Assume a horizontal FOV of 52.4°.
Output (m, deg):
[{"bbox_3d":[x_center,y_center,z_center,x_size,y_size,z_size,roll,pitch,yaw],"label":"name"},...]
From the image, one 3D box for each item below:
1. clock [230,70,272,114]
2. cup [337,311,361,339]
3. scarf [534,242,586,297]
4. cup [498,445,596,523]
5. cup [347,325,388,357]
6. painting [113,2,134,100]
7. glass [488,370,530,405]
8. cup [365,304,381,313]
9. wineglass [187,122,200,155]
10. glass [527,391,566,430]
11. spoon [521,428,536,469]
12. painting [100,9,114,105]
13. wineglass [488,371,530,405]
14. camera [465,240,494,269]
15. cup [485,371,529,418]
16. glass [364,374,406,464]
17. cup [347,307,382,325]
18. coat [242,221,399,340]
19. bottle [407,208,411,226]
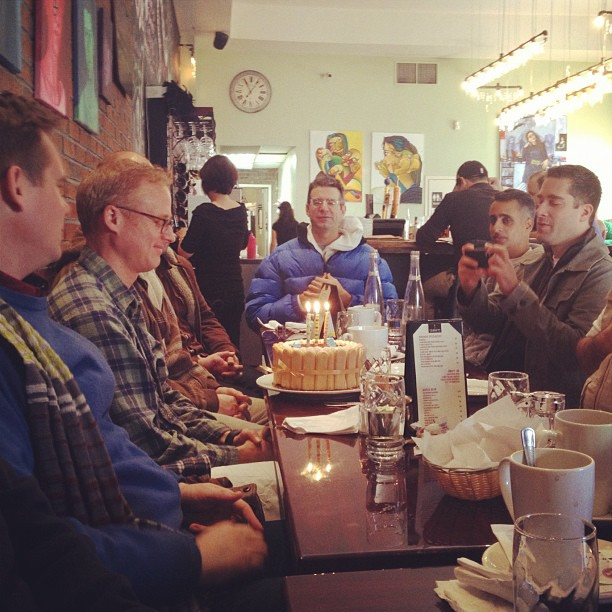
[{"bbox_3d":[-0.794,-2.997,8.630,0.596,0.588,0.077,-3,6,-7],"label":"clock"},{"bbox_3d":[0.138,0.067,2.085,0.080,0.078,0.080,-1,1,0],"label":"cup"},{"bbox_3d":[0.937,-0.131,2.279,0.078,0.176,0.179,14,16,-7],"label":"scarf"},{"bbox_3d":[0.280,0.201,0.768,0.084,0.110,0.129,-3,-1,-6],"label":"cup"},{"bbox_3d":[0.168,0.098,1.668,0.093,0.069,0.072,-2,1,31],"label":"cup"},{"bbox_3d":[-0.950,-1.340,3.244,0.072,0.398,0.455,-6,11,-8],"label":"painting"},{"bbox_3d":[0.401,0.157,1.231,0.073,0.078,0.075,0,-6,0],"label":"glass"},{"bbox_3d":[0.259,0.008,2.366,0.057,0.049,0.033,1,1,-13],"label":"cup"},{"bbox_3d":[-0.854,-1.271,4.706,0.095,0.249,0.230,-6,11,-6],"label":"wineglass"},{"bbox_3d":[0.389,0.167,1.006,0.056,0.078,0.055,1,-1,1],"label":"glass"},{"bbox_3d":[0.258,0.166,0.716,0.019,0.015,0.085,-2,15,18],"label":"spoon"},{"bbox_3d":[-0.945,-1.190,2.912,0.028,0.375,0.370,-6,23,-23],"label":"painting"},{"bbox_3d":[0.383,0.162,1.211,0.079,0.083,0.081,0,-6,0],"label":"wineglass"},{"bbox_3d":[0.571,-0.168,2.017,0.079,0.080,0.029,6,17,32],"label":"camera"},{"bbox_3d":[0.379,0.167,1.158,0.076,0.080,0.077,0,-4,0],"label":"cup"},{"bbox_3d":[0.144,0.214,1.164,0.085,0.154,0.091,-4,-8,32],"label":"glass"},{"bbox_3d":[0.199,0.033,2.102,0.093,0.079,0.058,0,0,-10],"label":"cup"},{"bbox_3d":[0.070,-0.082,3.044,0.872,0.667,0.496,3,-9,25],"label":"coat"},{"bbox_3d":[1.535,-1.345,9.257,0.044,0.214,0.109,1,13,27],"label":"bottle"}]
